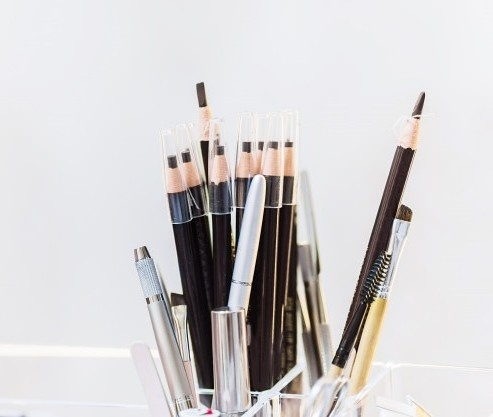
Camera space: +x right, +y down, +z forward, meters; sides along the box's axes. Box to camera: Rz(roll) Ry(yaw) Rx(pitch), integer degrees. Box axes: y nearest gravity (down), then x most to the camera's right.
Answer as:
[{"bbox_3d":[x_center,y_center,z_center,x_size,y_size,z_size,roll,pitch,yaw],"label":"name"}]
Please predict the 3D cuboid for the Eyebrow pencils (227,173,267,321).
[{"bbox_3d":[0.002,0.038,0.664,0.063,0.115,0.112,3,-63,3],"label":"Eyebrow pencils"}]

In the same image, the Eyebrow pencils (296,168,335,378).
[{"bbox_3d":[0.089,0.074,0.777,0.025,0.032,0.264,-1,-94,7],"label":"Eyebrow pencils"}]
